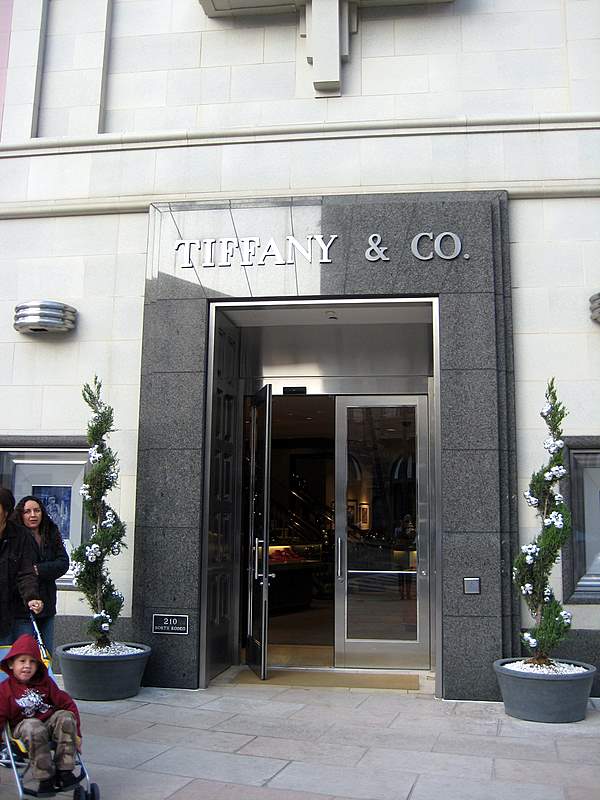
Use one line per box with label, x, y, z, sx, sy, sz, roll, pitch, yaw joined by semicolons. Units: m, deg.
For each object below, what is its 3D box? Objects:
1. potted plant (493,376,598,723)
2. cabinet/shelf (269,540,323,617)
potted plant;1.834;1.121;5.633;0.692;2.494;0.887;-4;-10;19
cabinet/shelf;-0.073;2.993;12.444;0.852;0.950;3.022;-1;-9;1
